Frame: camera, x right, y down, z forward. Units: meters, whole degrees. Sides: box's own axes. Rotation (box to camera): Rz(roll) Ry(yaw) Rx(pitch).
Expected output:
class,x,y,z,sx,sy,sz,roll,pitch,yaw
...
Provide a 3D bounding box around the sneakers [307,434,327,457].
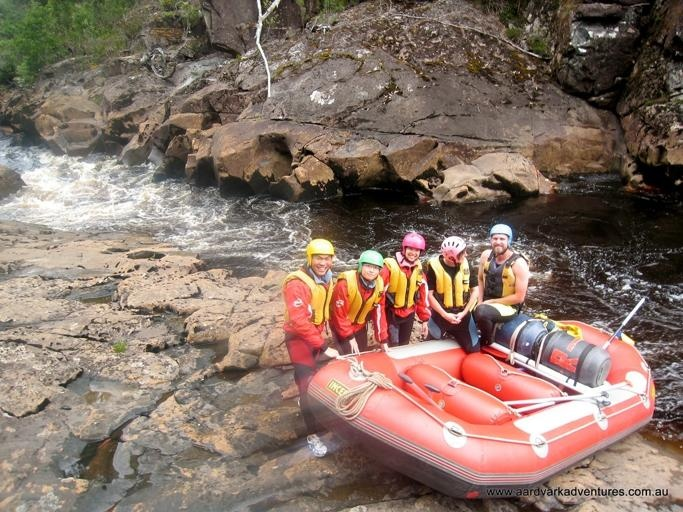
class,x,y,z,sx,sy,sz,roll,pitch,yaw
sneakers,-0.313,2.454,6.696,0.205,0.068,0.282,-15,43,-27

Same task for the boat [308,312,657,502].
class,x,y,z,sx,sy,sz,roll,pitch,yaw
boat,2.014,1.919,6.667,3.840,1.137,2.258,-10,15,-24

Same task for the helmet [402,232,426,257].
class,x,y,z,sx,sy,sz,roll,pitch,yaw
helmet,1.018,-0.222,7.423,0.280,0.305,0.261,-1,48,13

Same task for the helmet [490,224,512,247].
class,x,y,z,sx,sy,sz,roll,pitch,yaw
helmet,2.293,-0.307,7.505,0.286,0.280,0.370,-5,-8,38

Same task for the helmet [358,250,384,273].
class,x,y,z,sx,sy,sz,roll,pitch,yaw
helmet,0.394,0.043,7.082,0.250,0.217,0.294,11,15,-13

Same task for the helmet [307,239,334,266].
class,x,y,z,sx,sy,sz,roll,pitch,yaw
helmet,-0.304,-0.088,7.040,0.334,0.300,0.387,1,27,-20
